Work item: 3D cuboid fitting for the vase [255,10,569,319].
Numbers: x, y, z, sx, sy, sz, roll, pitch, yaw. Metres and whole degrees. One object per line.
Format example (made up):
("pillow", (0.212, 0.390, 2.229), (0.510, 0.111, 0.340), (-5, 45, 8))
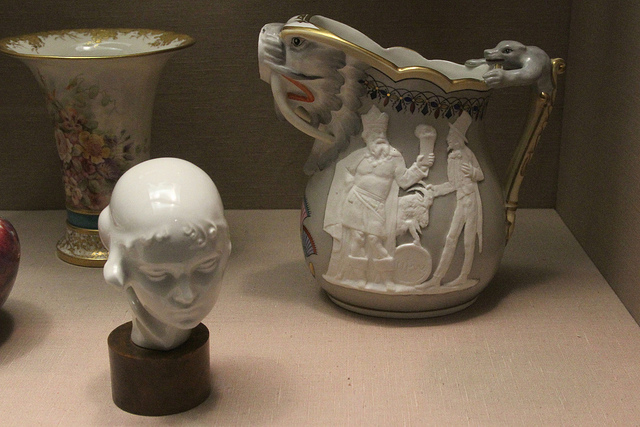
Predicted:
("vase", (0.162, -0.092, 1.478), (0.585, 0.562, 0.388), (1, 8, -2))

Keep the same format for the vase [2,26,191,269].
("vase", (-0.439, -0.182, 1.732), (0.477, 0.547, 0.488), (2, 13, 1))
